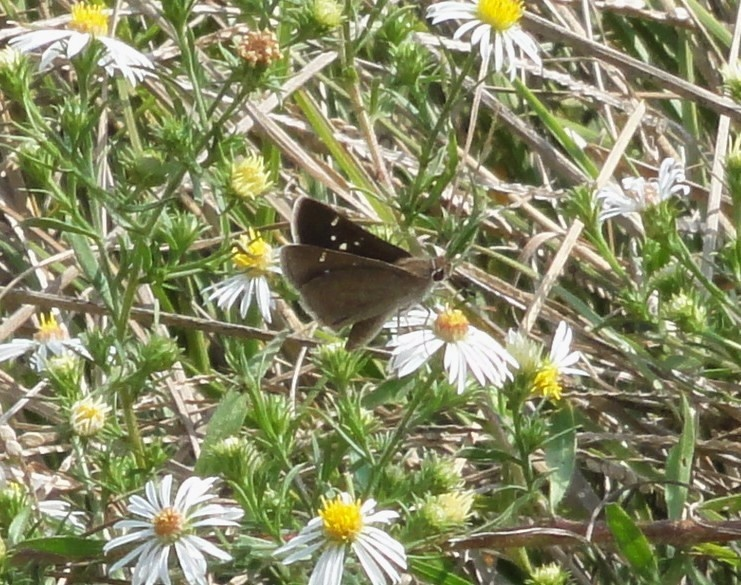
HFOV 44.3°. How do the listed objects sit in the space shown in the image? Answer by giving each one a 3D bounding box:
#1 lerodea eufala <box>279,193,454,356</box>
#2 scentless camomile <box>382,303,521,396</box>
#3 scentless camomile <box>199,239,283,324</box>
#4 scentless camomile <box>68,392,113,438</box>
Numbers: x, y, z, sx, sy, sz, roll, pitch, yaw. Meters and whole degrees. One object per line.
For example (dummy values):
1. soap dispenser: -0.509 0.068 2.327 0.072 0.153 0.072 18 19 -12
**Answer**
1. lerodea eufala: -0.018 -0.062 3.084 0.419 0.376 0.522 0 7 0
2. scentless camomile: 0.237 0.163 2.830 0.453 0.388 0.239 -5 14 -28
3. scentless camomile: -0.429 -0.049 3.137 0.177 0.404 0.316 7 17 21
4. scentless camomile: -0.818 0.349 2.683 0.111 0.091 0.114 -24 104 -33
